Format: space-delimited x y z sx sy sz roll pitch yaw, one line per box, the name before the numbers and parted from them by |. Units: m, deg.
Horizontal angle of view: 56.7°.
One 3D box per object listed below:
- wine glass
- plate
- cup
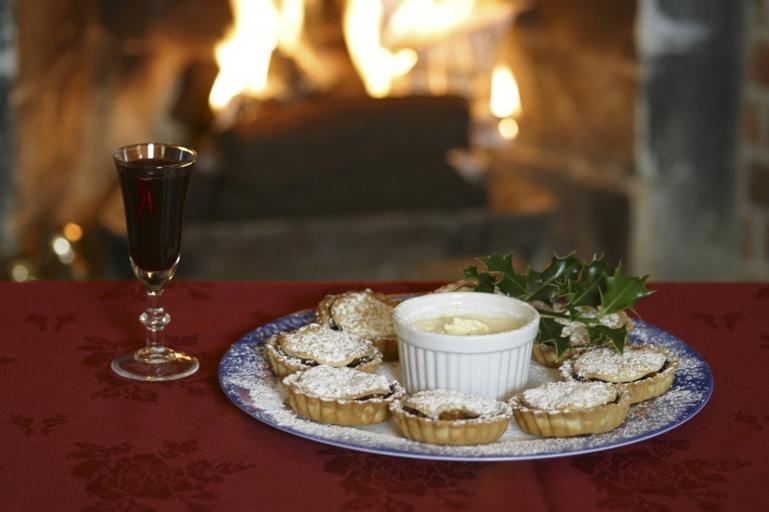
wine glass | -0.375 -0.008 1.113 0.119 0.401 0.124 7 15 35
plate | 0.121 0.148 1.118 0.231 0.141 0.236 8 12 36
cup | 0.119 0.128 1.049 0.174 0.103 0.169 -1 19 0
